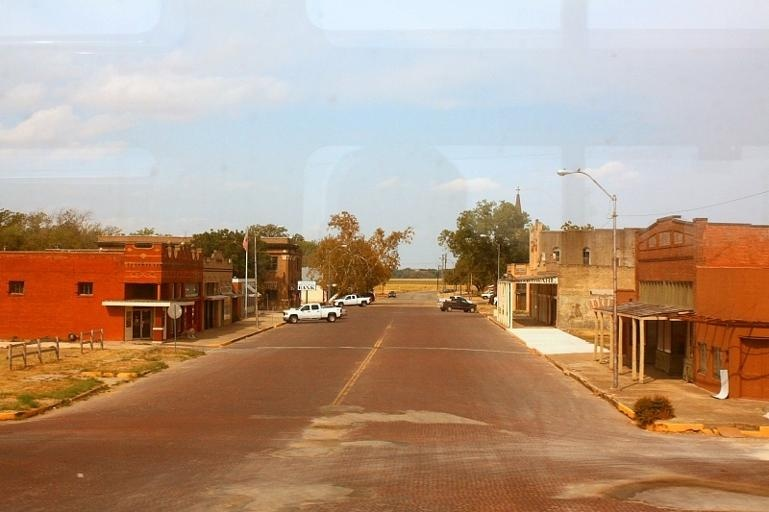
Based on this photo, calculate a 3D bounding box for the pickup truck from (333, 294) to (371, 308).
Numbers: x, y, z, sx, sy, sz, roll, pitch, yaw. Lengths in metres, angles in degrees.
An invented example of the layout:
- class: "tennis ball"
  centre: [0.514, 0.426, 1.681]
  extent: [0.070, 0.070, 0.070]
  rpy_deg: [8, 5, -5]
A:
- class: "pickup truck"
  centre: [-4.603, 6.419, 110.258]
  extent: [4.325, 1.532, 1.936]
  rpy_deg: [2, -5, -2]

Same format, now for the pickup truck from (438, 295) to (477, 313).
- class: "pickup truck"
  centre: [8.953, 5.833, 91.821]
  extent: [4.138, 1.587, 1.861]
  rpy_deg: [0, 0, -5]

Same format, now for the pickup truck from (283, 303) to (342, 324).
- class: "pickup truck"
  centre: [-6.645, 5.456, 72.344]
  extent: [4.770, 1.510, 2.302]
  rpy_deg: [2, -5, 1]
